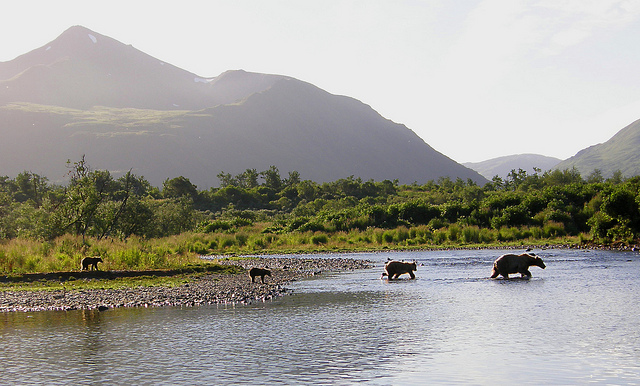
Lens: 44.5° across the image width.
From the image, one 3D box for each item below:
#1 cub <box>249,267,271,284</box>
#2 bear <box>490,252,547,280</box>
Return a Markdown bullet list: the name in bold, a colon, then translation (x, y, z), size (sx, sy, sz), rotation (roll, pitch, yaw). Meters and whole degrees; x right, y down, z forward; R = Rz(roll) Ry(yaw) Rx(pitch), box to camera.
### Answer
- **cub**: translation (-3.940, 5.207, 50.773), size (1.130, 0.878, 1.288), rotation (3, 12, 19)
- **bear**: translation (12.866, 5.044, 51.382), size (4.672, 2.130, 2.309), rotation (0, -1, -9)
